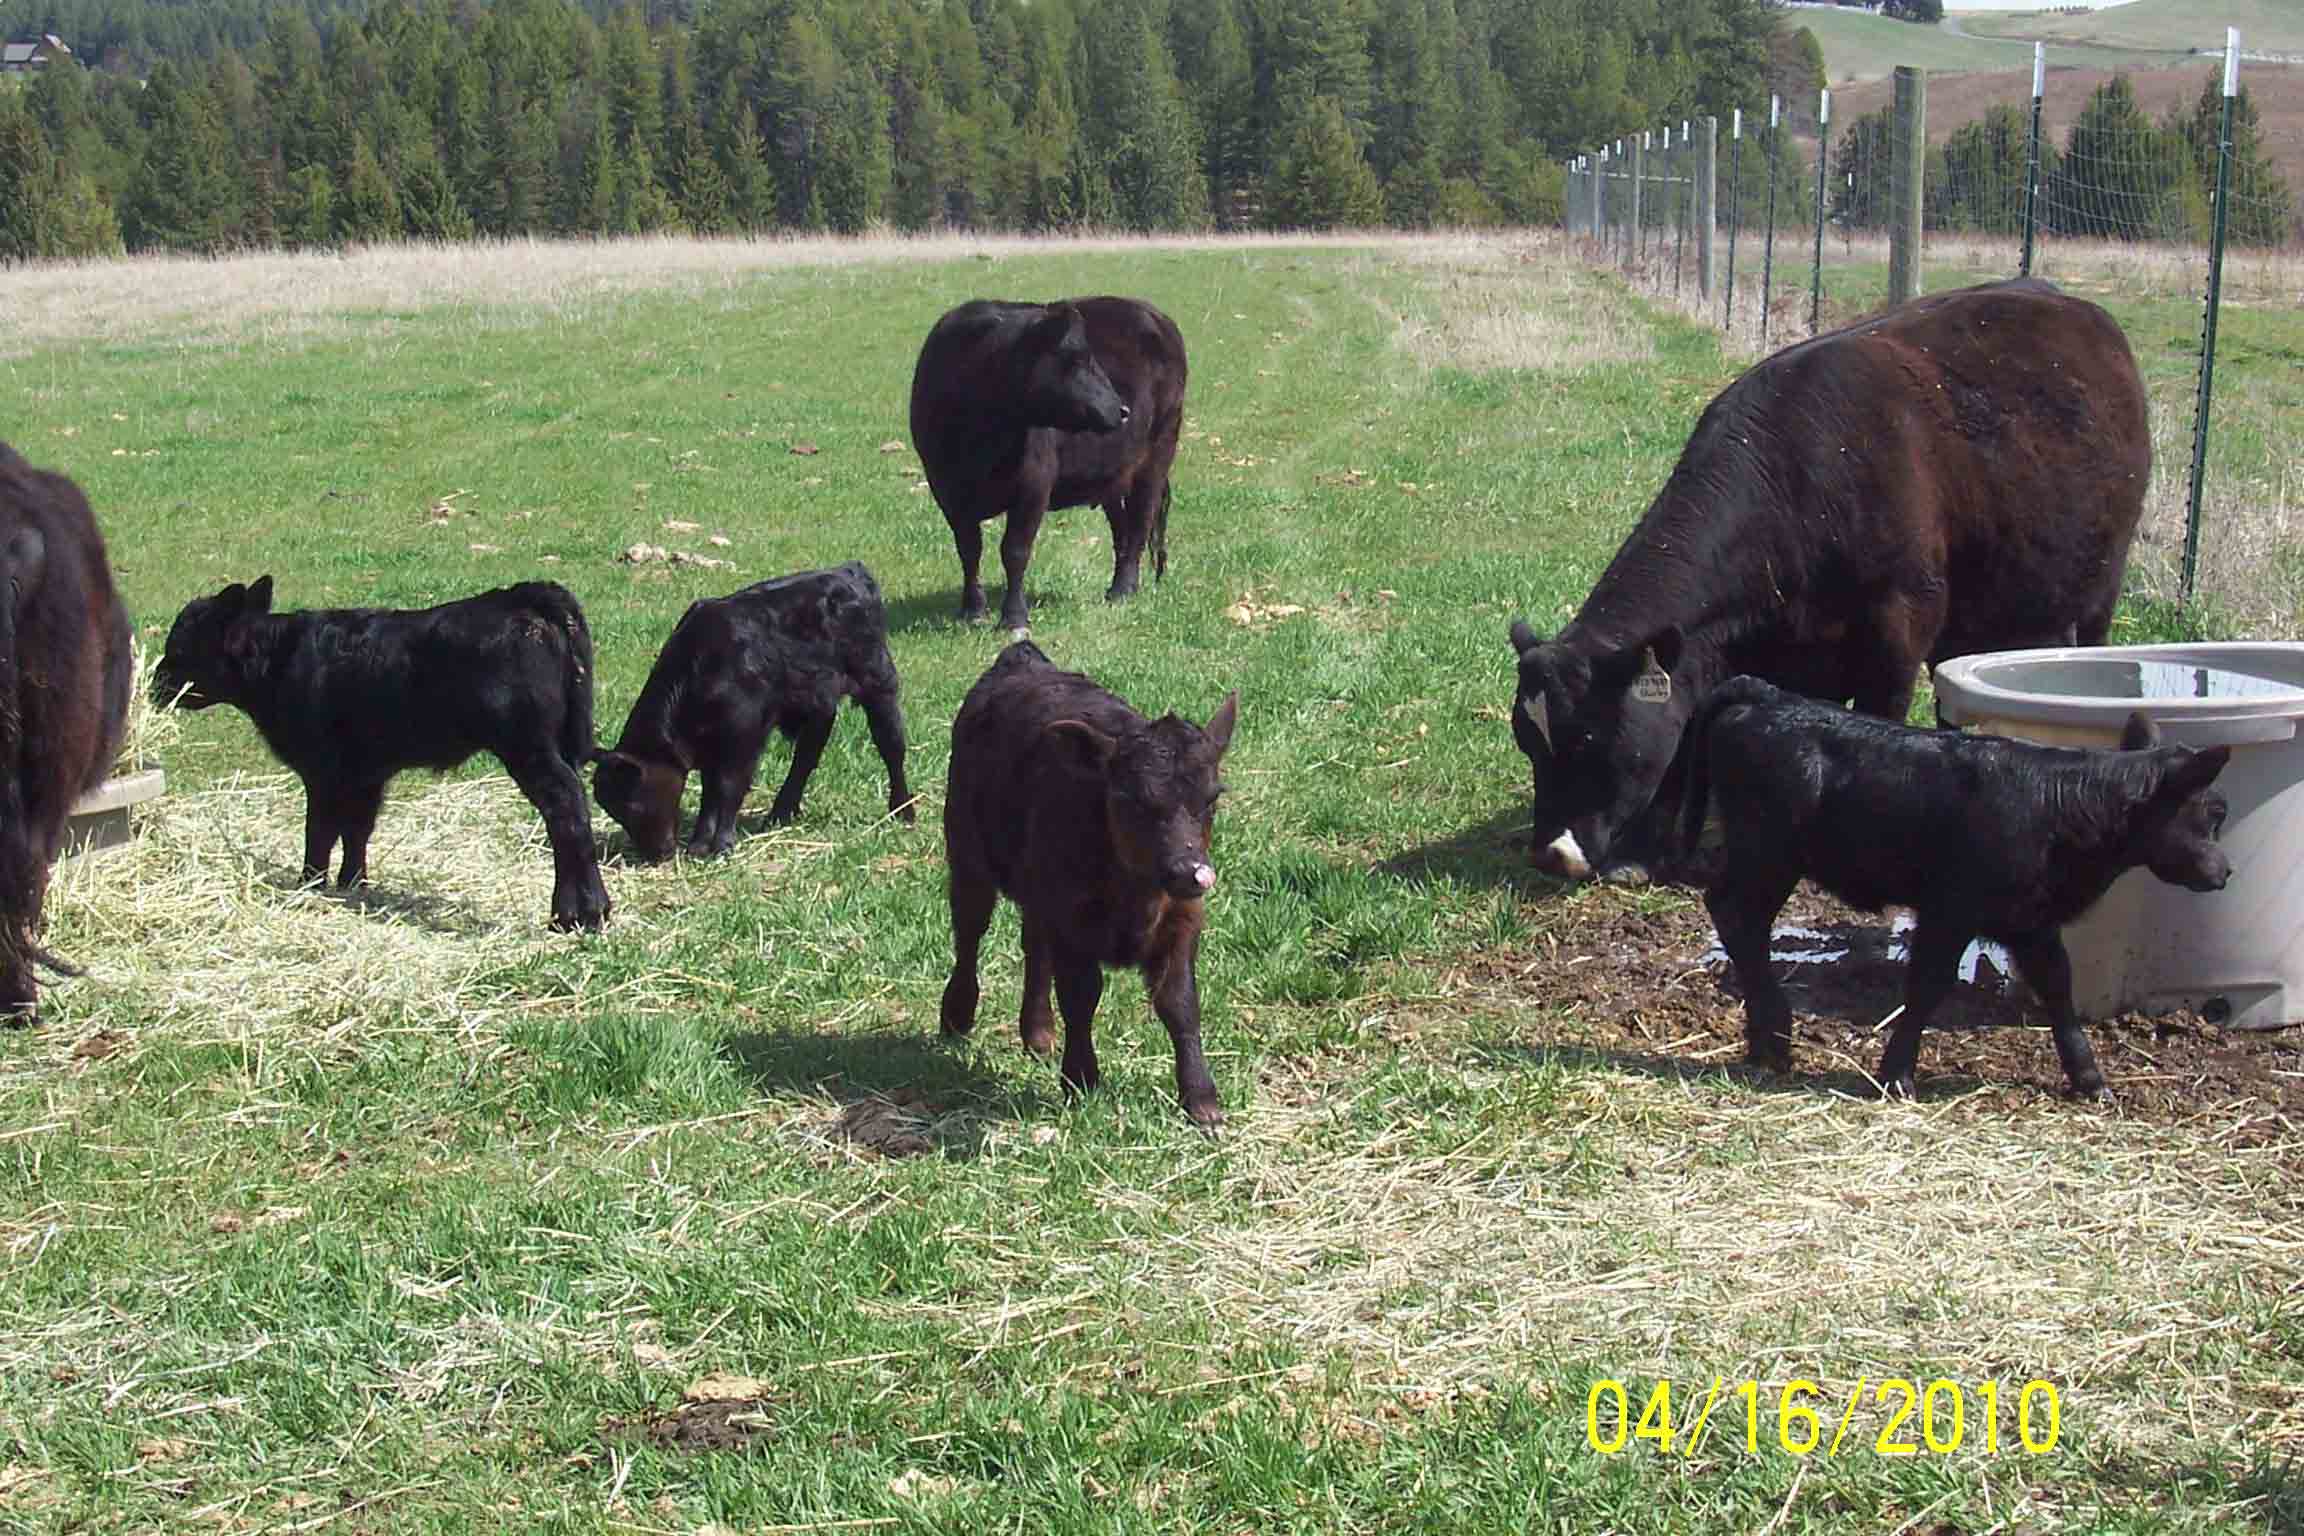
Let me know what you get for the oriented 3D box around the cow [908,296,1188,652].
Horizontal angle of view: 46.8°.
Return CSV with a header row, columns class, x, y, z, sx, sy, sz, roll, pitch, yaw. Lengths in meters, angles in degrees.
class,x,y,z,sx,sy,sz,roll,pitch,yaw
cow,-0.791,-2.265,19.442,1.154,2.247,4.044,6,13,26
